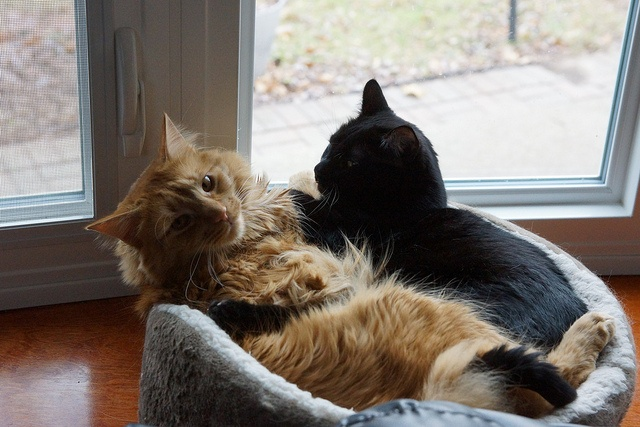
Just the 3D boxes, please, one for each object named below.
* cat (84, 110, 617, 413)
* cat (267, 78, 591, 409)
[{"bbox_3d":[0.010,0.122,1.523,1.224,0.513,0.558,8,31,22],"label":"cat"},{"bbox_3d":[0.264,-0.062,1.731,1.050,0.575,0.350,39,43,13],"label":"cat"}]
